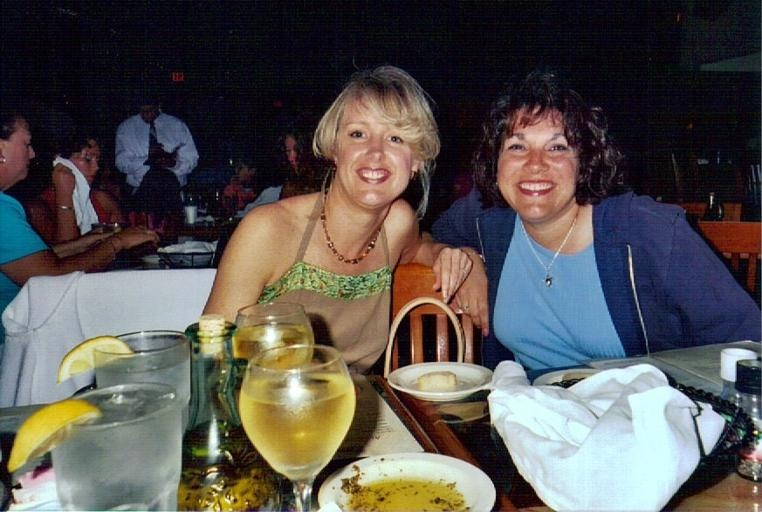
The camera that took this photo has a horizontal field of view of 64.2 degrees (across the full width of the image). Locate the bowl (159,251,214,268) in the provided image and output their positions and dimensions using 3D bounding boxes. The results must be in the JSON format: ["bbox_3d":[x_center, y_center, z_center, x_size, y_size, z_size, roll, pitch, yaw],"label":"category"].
[{"bbox_3d":[-1.268,0.031,3.935,0.263,0.070,0.174,0,-1,-16],"label":"bowl"}]

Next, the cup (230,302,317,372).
[{"bbox_3d":[-0.303,0.221,1.643,0.184,0.149,0.167,-2,-2,0],"label":"cup"}]

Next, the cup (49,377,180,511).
[{"bbox_3d":[-0.598,0.399,1.413,0.289,0.249,0.273,2,7,0],"label":"cup"}]

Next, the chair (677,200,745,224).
[{"bbox_3d":[2.291,-0.300,4.196,0.484,0.171,0.101,0,-20,6],"label":"chair"}]

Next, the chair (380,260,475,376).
[{"bbox_3d":[0.195,0.288,2.735,0.424,0.624,0.462,5,-25,-7],"label":"chair"}]

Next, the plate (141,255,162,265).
[{"bbox_3d":[-1.505,0.028,3.989,0.131,0.061,0.028,0,2,12],"label":"plate"}]
